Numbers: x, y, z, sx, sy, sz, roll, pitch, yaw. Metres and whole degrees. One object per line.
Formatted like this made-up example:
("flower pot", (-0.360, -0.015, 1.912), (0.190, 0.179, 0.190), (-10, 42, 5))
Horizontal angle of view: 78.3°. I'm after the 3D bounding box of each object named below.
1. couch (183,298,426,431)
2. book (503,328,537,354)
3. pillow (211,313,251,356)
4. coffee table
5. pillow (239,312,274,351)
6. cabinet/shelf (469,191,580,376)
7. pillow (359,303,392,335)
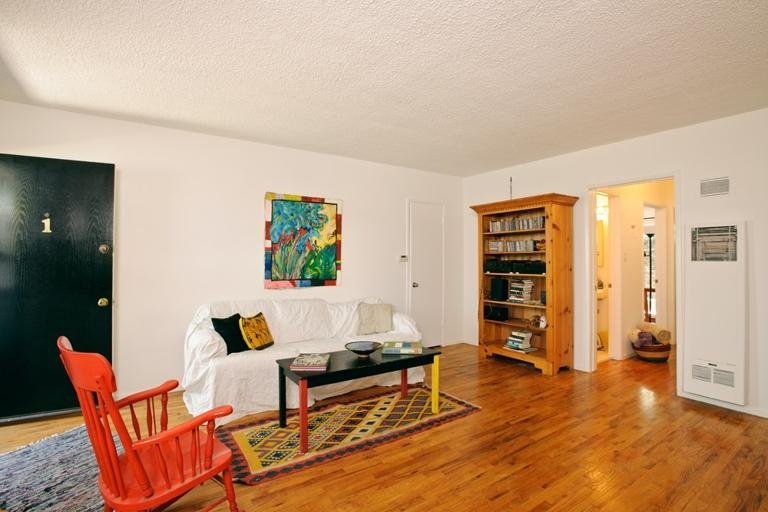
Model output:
("couch", (-0.890, 1.147, 6.124), (3.020, 1.073, 1.091), (-1, 6, -32))
("book", (1.984, 1.250, 6.905), (0.354, 0.205, 0.335), (1, -2, -35))
("pillow", (-1.785, 0.915, 5.508), (0.145, 0.402, 0.448), (-33, 3, 24))
("coffee table", (-0.263, 1.479, 5.307), (1.730, 0.678, 0.751), (-2, 4, -33))
("pillow", (-1.536, 0.915, 5.687), (0.130, 0.362, 0.392), (-37, -23, 25))
("cabinet/shelf", (2.090, 0.384, 6.992), (0.654, 2.473, 1.342), (-2, 2, -40))
("pillow", (-0.136, 0.883, 6.604), (0.469, 0.375, 0.115), (-2, -22, -10))
